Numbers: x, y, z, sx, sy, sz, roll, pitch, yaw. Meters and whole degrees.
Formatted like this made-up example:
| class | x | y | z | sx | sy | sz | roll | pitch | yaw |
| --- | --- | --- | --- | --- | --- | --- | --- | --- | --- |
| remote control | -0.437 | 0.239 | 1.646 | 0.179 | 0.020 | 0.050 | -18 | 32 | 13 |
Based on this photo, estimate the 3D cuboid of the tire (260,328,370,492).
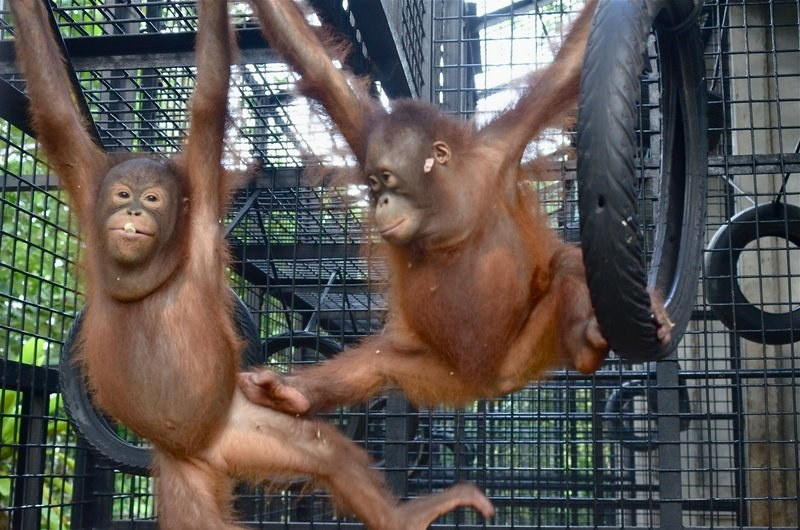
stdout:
| class | x | y | z | sx | sy | sz | roll | pitch | yaw |
| --- | --- | --- | --- | --- | --- | --- | --- | --- | --- |
| tire | -0.503 | 0.619 | 8.433 | 0.617 | 0.628 | 0.154 | 9 | 12 | 15 |

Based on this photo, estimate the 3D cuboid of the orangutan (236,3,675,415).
| class | x | y | z | sx | sy | sz | roll | pitch | yaw |
| --- | --- | --- | --- | --- | --- | --- | --- | --- | --- |
| orangutan | 0.282 | -0.295 | 7.440 | 1.817 | 2.049 | 0.997 | -10 | 7 | 19 |

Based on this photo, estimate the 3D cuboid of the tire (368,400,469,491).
| class | x | y | z | sx | sy | sz | roll | pitch | yaw |
| --- | --- | --- | --- | --- | --- | --- | --- | --- | --- |
| tire | 0.070 | 0.908 | 8.197 | 0.491 | 0.381 | 0.629 | -1 | -3 | 2 |
